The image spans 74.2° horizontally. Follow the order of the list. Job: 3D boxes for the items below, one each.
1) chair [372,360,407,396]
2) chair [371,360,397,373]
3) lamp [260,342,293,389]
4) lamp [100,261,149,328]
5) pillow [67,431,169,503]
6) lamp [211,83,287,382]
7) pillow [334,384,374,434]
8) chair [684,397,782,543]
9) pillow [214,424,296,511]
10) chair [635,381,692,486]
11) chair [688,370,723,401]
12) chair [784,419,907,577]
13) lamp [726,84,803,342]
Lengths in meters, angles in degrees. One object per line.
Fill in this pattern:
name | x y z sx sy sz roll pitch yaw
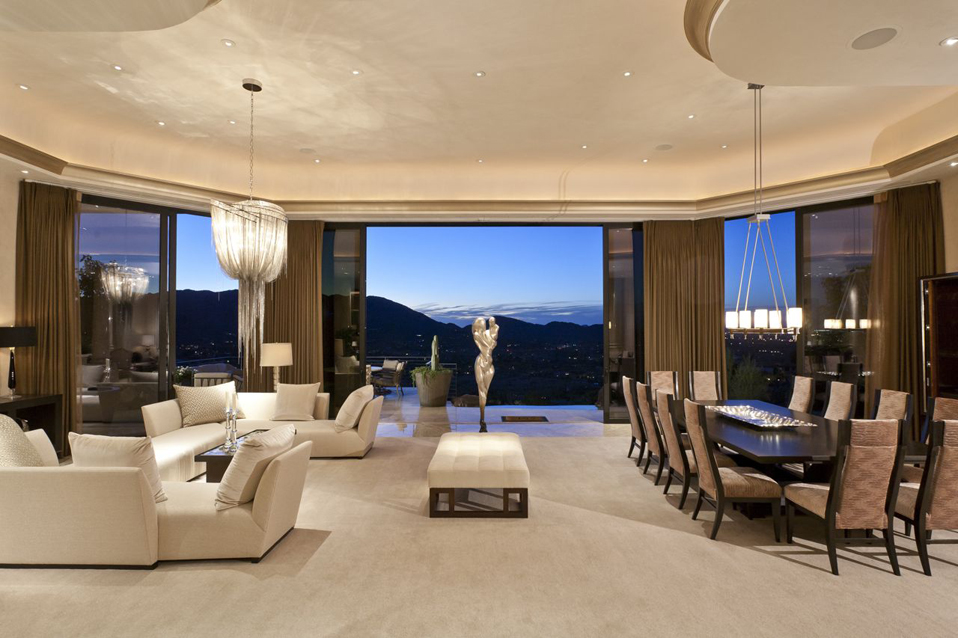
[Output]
chair | -1.386 0.957 10.537 0.493 0.641 0.572 0 -6 20
chair | -1.558 0.773 10.467 0.297 0.337 0.238 8 -5 -40
lamp | -3.055 0.696 9.676 0.673 0.939 0.667 0 -1 -16
lamp | -5.090 -0.365 9.011 0.737 0.859 0.669 1 -2 -2
pillow | -3.249 1.359 5.707 0.711 0.547 0.321 0 -12 7
lamp | -2.649 -1.070 7.436 0.856 3.271 0.872 4 5 37
pillow | -1.601 1.219 8.681 0.610 0.474 0.861 -18 -1 5
chair | 2.536 1.482 6.421 0.859 1.325 0.769 -1 0 10
pillow | -2.133 1.444 6.048 0.626 0.410 0.755 -32 -10 2
chair | 2.126 1.379 7.372 0.460 0.896 1.165 -1 0 0
chair | 3.110 0.916 8.743 0.412 0.720 0.396 0 -4 6
chair | 3.303 1.577 5.751 0.908 1.368 0.446 -1 1 33
lamp | 3.706 -1.227 8.483 0.965 2.764 3.724 -1 0 25
